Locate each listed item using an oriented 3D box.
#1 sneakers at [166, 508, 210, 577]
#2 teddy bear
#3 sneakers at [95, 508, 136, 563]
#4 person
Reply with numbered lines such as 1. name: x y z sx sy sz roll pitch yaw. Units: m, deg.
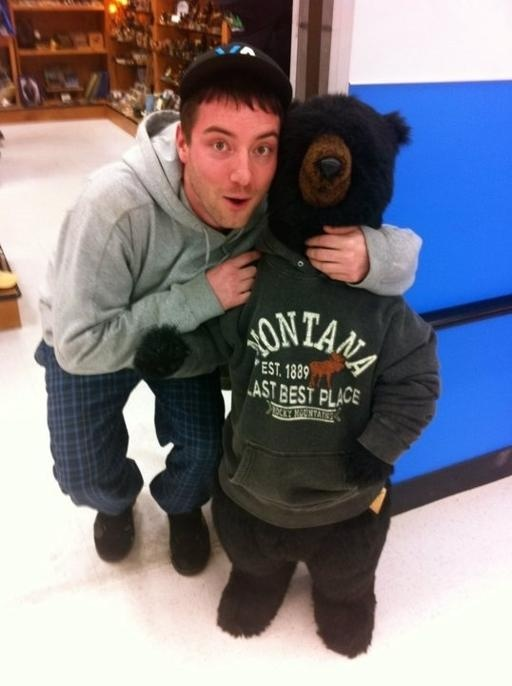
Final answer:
1. sneakers: -0.176 0.535 1.563 0.077 0.073 0.191 -5 23 -11
2. teddy bear: 0.080 0.129 1.187 0.524 1.162 0.321 12 30 17
3. sneakers: -0.386 0.518 1.586 0.070 0.065 0.167 -1 30 -14
4. person: -0.103 -0.001 1.386 0.879 1.189 0.531 9 20 16
